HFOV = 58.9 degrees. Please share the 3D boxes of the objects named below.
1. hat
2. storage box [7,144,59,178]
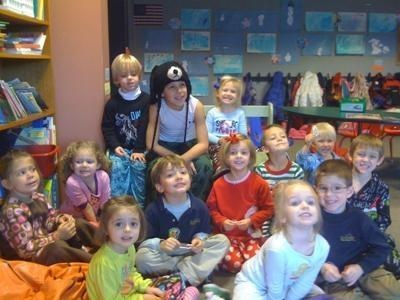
[{"bbox_3d":[-0.265,-0.535,2.923,0.340,0.327,0.336,-5,9,-16],"label":"hat"},{"bbox_3d":[-1.288,0.066,2.802,0.263,0.176,0.390,0,3,-1],"label":"storage box"}]
